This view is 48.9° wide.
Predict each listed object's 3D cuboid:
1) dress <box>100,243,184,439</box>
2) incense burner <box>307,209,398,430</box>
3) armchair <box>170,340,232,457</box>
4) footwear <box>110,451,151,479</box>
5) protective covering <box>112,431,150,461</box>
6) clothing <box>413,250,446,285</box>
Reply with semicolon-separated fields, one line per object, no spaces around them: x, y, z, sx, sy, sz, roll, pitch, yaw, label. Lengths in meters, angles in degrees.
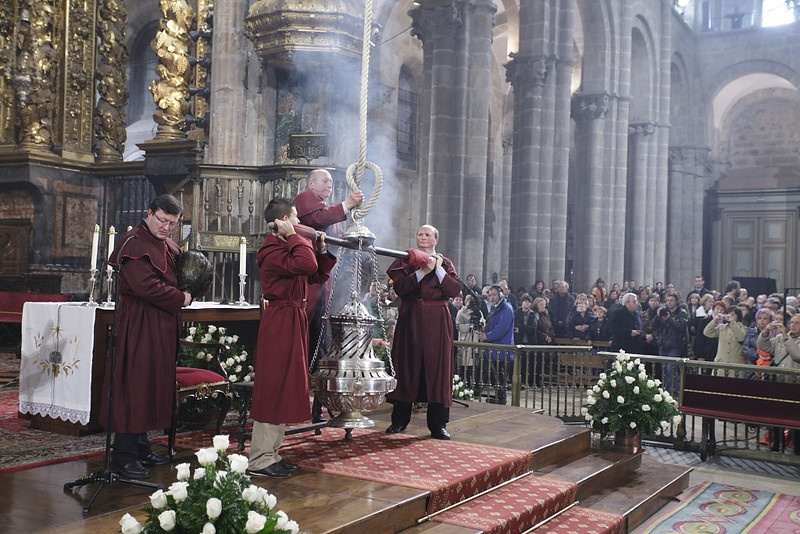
-3.167;0.770;11.053;0.903;2.544;1.189;2;-6;4;dress
-0.532;0.588;11.329;1.622;2.811;1.668;-2;3;-29;incense burner
-2.715;1.581;12.029;1.220;1.446;1.090;0;-1;10;armchair
-3.233;2.361;10.524;0.444;0.172;0.247;6;-1;14;footwear
-3.276;2.163;10.637;0.208;0.495;0.406;-1;-7;35;protective covering
0.458;-0.008;12.181;0.363;0.406;0.129;0;-11;22;clothing
